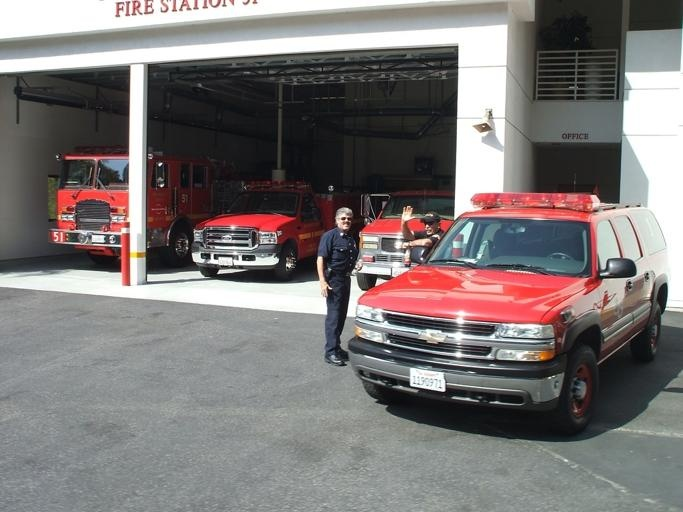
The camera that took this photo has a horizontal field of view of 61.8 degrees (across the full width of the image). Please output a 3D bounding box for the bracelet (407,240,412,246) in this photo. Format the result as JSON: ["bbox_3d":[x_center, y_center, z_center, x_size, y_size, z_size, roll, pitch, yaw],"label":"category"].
[{"bbox_3d":[1.090,-0.209,8.989,0.042,0.085,0.119,-7,-7,-6],"label":"bracelet"}]

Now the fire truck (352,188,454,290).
[{"bbox_3d":[2.282,-0.575,14.606,2.230,2.409,4.714,3,7,24],"label":"fire truck"}]

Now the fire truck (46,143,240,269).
[{"bbox_3d":[-5.547,-1.430,17.506,2.849,2.209,5.077,0,2,19],"label":"fire truck"}]

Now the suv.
[{"bbox_3d":[2.179,0.416,6.652,2.042,1.712,3.781,1,1,34],"label":"suv"}]

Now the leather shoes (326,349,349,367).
[{"bbox_3d":[-0.043,1.371,7.686,0.161,0.136,0.327,-1,-1,-36],"label":"leather shoes"}]

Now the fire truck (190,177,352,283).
[{"bbox_3d":[-1.841,-0.791,15.694,2.063,1.849,4.506,0,4,19],"label":"fire truck"}]

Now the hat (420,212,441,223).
[{"bbox_3d":[1.415,-0.587,8.830,0.191,0.142,0.277,0,2,37],"label":"hat"}]
